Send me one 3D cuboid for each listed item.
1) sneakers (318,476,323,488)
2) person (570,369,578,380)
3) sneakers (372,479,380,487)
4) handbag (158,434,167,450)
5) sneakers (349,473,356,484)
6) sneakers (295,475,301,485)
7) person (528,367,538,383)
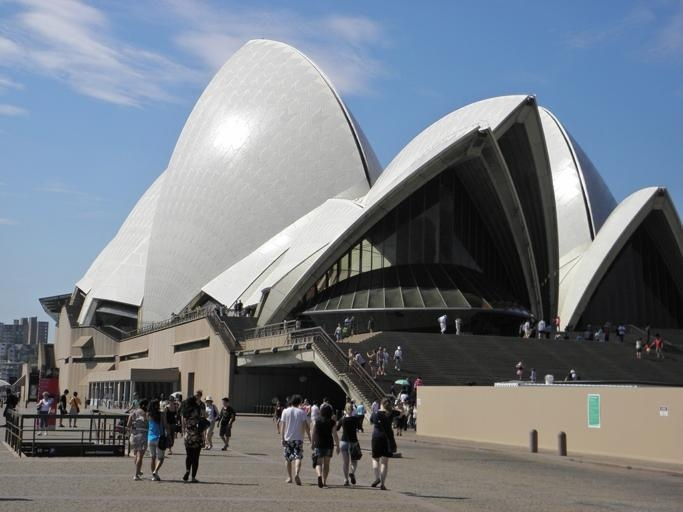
[{"bbox_3d":[-0.379,3.763,10.000,0.065,0.218,0.080,-3,-2,3],"label":"sneakers"},{"bbox_3d":[10.085,5.197,26.307,0.388,0.580,2.058,-3,-16,20],"label":"person"},{"bbox_3d":[0.559,3.787,10.039,0.153,0.137,0.284,1,-15,3],"label":"sneakers"},{"bbox_3d":[-3.237,3.344,10.770,0.116,0.273,0.231,-1,-4,-3],"label":"handbag"},{"bbox_3d":[0.176,3.949,10.648,0.110,0.185,0.168,2,-15,-1],"label":"sneakers"},{"bbox_3d":[-0.761,3.854,10.236,0.067,0.071,0.172,-4,-58,4],"label":"sneakers"},{"bbox_3d":[8.597,5.343,27.078,0.336,0.724,2.150,-3,-16,17],"label":"person"}]
